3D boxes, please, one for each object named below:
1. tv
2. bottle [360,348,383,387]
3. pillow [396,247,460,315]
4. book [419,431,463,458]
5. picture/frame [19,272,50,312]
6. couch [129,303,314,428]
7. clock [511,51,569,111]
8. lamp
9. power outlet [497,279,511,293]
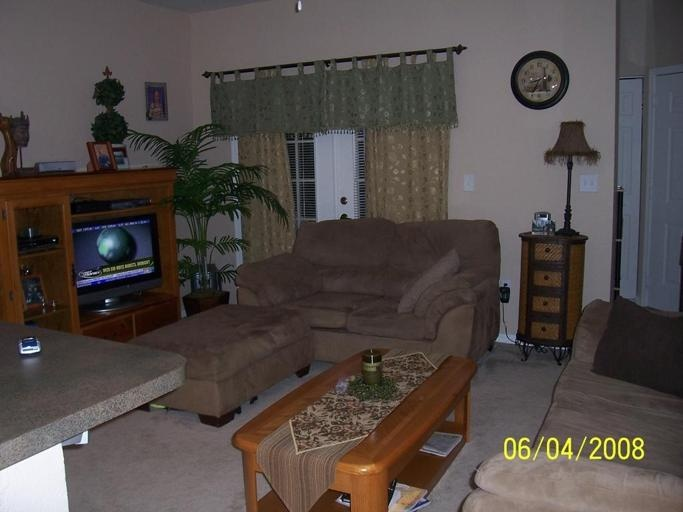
[{"bbox_3d":[-1.851,0.049,4.474,0.206,0.562,0.748,-1,5,23],"label":"tv"},{"bbox_3d":[0.157,0.591,2.885,0.130,0.211,0.128,0,10,0],"label":"bottle"},{"bbox_3d":[0.676,0.196,4.137,0.564,0.394,0.185,-11,16,-37],"label":"pillow"},{"bbox_3d":[0.520,0.970,2.881,0.126,0.033,0.127,-1,8,35],"label":"book"},{"bbox_3d":[-2.228,0.264,3.977,0.027,0.306,0.244,-5,3,26],"label":"picture/frame"},{"bbox_3d":[-0.846,0.657,3.715,0.699,0.509,0.989,2,8,23],"label":"couch"},{"bbox_3d":[1.656,-1.447,4.534,0.448,0.496,0.063,3,6,23],"label":"clock"},{"bbox_3d":[1.832,-0.631,4.412,0.430,0.861,0.439,5,14,26],"label":"lamp"},{"bbox_3d":[1.403,0.261,4.809,0.119,0.153,0.131,0,0,24],"label":"power outlet"}]
